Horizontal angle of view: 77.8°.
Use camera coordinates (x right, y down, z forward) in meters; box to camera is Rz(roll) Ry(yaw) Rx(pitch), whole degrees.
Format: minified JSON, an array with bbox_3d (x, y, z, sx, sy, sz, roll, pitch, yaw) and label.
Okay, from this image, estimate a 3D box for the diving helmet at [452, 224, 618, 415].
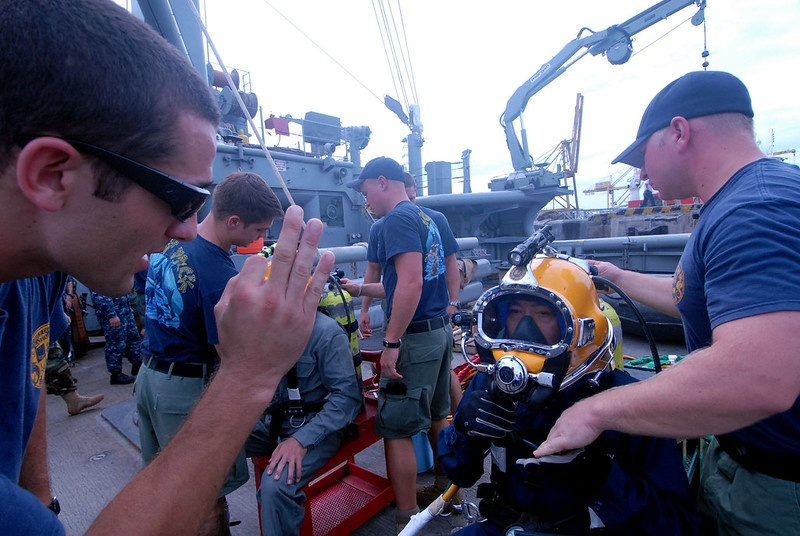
[{"bbox_3d":[0.731,0.214,2.547,0.618,0.732,0.894,2,9,37],"label":"diving helmet"}]
